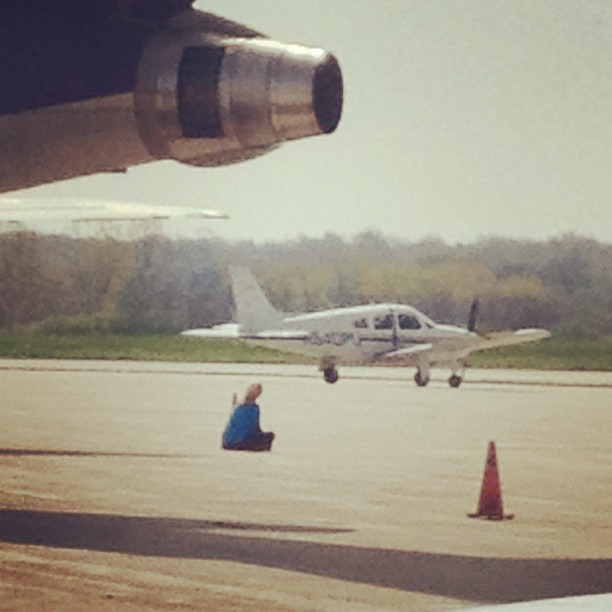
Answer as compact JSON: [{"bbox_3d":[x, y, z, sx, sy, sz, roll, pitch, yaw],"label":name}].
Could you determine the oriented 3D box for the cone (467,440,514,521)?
[{"bbox_3d":[1.736,1.663,19.176,0.459,0.701,0.688,-3,-15,16],"label":"cone"}]
